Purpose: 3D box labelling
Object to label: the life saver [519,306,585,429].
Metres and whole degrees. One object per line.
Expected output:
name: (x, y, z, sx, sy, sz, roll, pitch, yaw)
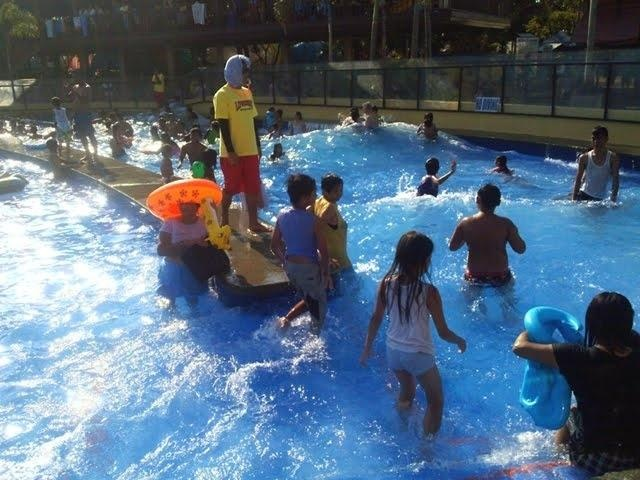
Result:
life saver: (1.628, 0.927, 3.421, 0.414, 0.872, 0.268, 5, 2, 18)
